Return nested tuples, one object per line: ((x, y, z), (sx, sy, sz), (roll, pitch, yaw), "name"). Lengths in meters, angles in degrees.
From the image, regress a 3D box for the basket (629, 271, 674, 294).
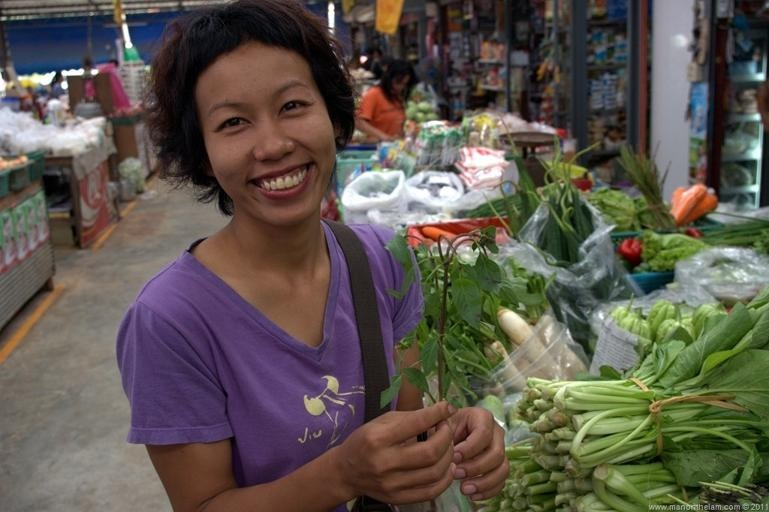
((1.444, 0.143, 3.055), (0.199, 0.122, 0.179), (2, 14, 29), "basket")

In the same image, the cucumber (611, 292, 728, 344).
((1.189, 0.269, 2.444), (0.352, 0.209, 0.248), (-9, -1, -14), "cucumber")
